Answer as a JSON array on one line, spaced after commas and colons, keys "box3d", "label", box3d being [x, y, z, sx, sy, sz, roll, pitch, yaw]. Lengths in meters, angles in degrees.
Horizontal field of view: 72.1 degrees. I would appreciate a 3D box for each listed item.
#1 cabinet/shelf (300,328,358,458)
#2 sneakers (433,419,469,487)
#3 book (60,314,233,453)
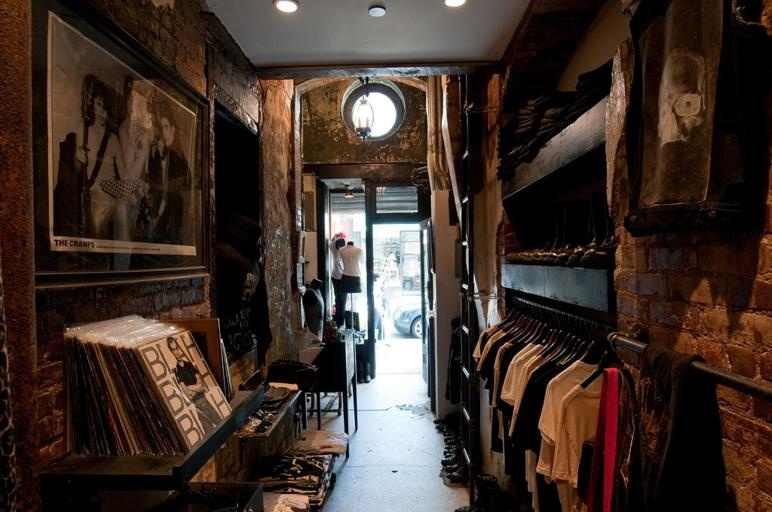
[{"box3d": [-0.544, 1.269, 4.950, 0.345, 0.914, 1.031, -2, -2, 0], "label": "cabinet/shelf"}, {"box3d": [0.572, 1.698, 4.578, 0.197, 0.487, 0.142, 5, 17, 14], "label": "sneakers"}, {"box3d": [-0.940, 0.483, 1.987, 0.470, 0.507, 0.165, -13, -5, -45], "label": "book"}]
